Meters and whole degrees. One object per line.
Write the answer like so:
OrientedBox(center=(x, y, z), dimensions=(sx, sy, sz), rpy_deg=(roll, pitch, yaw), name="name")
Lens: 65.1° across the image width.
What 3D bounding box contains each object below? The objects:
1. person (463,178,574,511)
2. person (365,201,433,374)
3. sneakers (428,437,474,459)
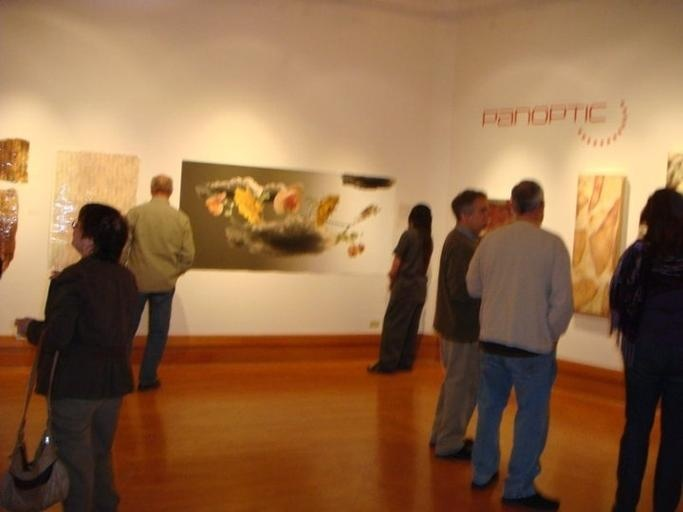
OrientedBox(center=(1.250, 0.771, 3.855), dimensions=(0.721, 2.036, 0.324), rpy_deg=(5, 5, 26), name="person")
OrientedBox(center=(0.791, 0.407, 6.759), dimensions=(0.697, 2.106, 0.329), rpy_deg=(2, 5, -5), name="person")
OrientedBox(center=(0.926, 1.653, 4.508), dimensions=(0.352, 0.170, 0.137), rpy_deg=(-4, 4, -13), name="sneakers")
